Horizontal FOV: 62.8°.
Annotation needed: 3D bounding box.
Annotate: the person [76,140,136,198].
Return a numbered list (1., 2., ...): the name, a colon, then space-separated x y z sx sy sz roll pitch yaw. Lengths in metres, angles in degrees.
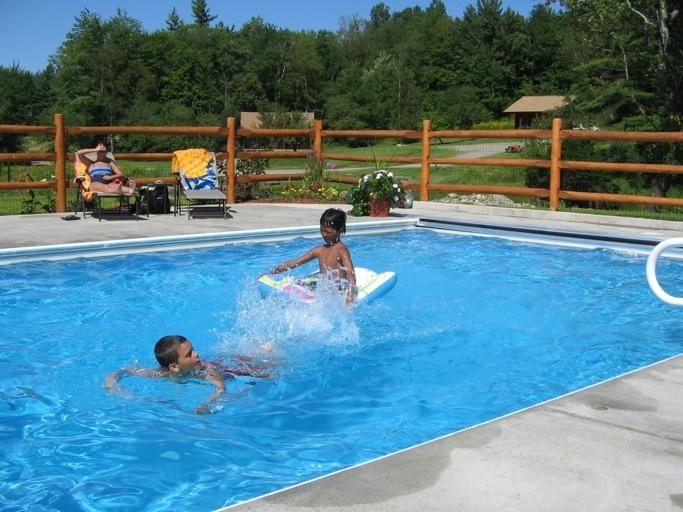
1. person: -4.304 -1.584 10.083 0.868 0.854 1.189 -7 14 -26

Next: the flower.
1. flower: 0.707 -1.296 10.803 1.054 0.996 1.061 2 4 -4

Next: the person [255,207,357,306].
1. person: -0.464 0.023 6.952 1.153 1.267 0.675 18 34 33

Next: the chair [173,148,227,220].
1. chair: -2.792 -1.397 10.918 0.989 1.100 1.564 -5 21 -20

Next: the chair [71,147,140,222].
1. chair: -4.270 -1.286 10.060 0.917 0.844 1.458 -3 23 -35

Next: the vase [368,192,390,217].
1. vase: 0.705 -0.923 10.540 0.548 0.402 0.294 0 12 0

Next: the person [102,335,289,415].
1. person: -1.181 0.756 4.343 1.121 0.439 0.965 7 14 28
